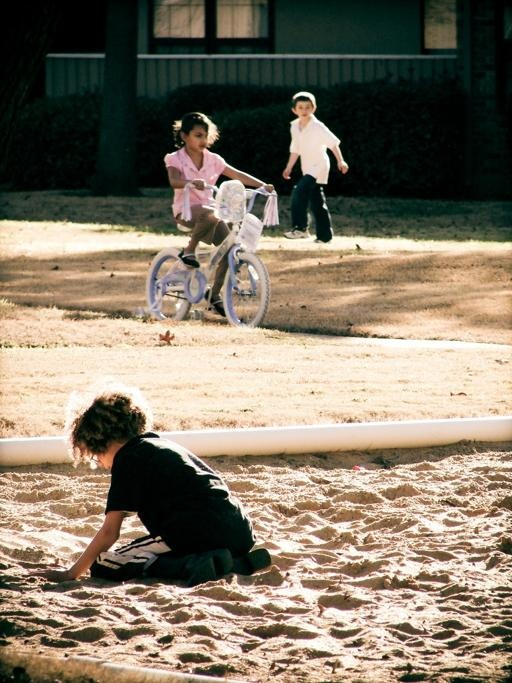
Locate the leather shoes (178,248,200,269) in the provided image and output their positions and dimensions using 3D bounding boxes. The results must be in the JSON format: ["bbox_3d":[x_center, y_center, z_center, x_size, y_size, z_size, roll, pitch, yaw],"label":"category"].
[{"bbox_3d":[-0.521,-0.630,10.944,0.154,0.151,0.335,0,12,-4],"label":"leather shoes"}]

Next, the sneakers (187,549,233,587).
[{"bbox_3d":[-0.204,0.983,6.247,0.165,0.091,0.114,-25,18,-26],"label":"sneakers"}]

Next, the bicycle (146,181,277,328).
[{"bbox_3d":[-0.391,-0.640,11.058,0.738,1.194,1.520,4,2,-41],"label":"bicycle"}]

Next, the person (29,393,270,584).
[{"bbox_3d":[-0.490,0.654,6.380,0.692,0.984,0.678,-8,-10,14],"label":"person"}]

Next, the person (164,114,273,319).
[{"bbox_3d":[-0.317,-1.011,11.022,0.604,1.548,0.521,-5,1,-24],"label":"person"}]

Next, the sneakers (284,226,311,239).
[{"bbox_3d":[0.388,-1.060,14.065,0.275,0.154,0.107,4,3,-21],"label":"sneakers"}]
